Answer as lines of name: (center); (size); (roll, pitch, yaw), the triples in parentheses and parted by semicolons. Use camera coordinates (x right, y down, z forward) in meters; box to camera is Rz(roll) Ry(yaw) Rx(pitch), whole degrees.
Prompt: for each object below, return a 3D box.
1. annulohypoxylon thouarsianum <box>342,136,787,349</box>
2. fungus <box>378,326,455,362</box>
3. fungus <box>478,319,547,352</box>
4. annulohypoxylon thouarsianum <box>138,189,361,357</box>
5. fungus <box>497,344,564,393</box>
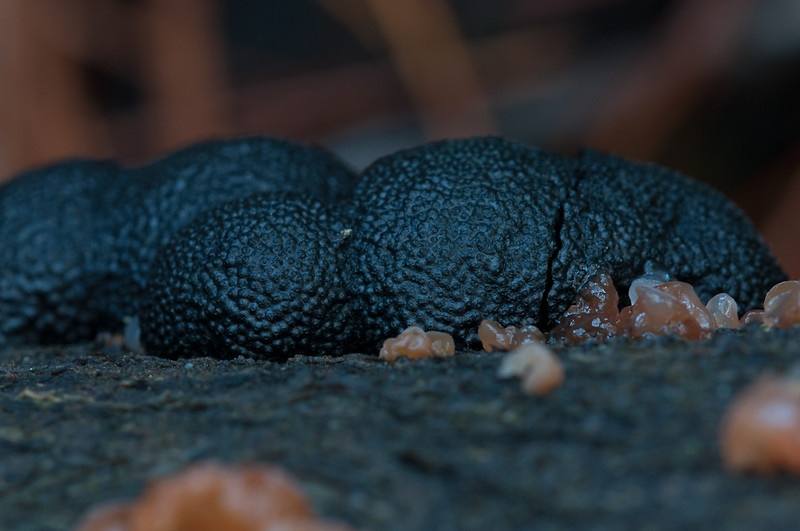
annulohypoxylon thouarsianum: (0.402, -0.239, 4.940); (2.970, 1.006, 1.810); (-6, 8, -7)
fungus: (0.091, 0.359, 4.003); (0.413, 0.160, 0.249); (-9, 14, 0)
fungus: (0.510, 0.327, 3.984); (0.326, 0.136, 0.198); (2, 8, -16)
annulohypoxylon thouarsianum: (-0.831, 0.017, 4.411); (1.016, 0.774, 0.696); (-4, 4, -29)
fungus: (0.533, 0.419, 3.572); (0.270, 0.115, 0.224); (-3, 37, 12)
